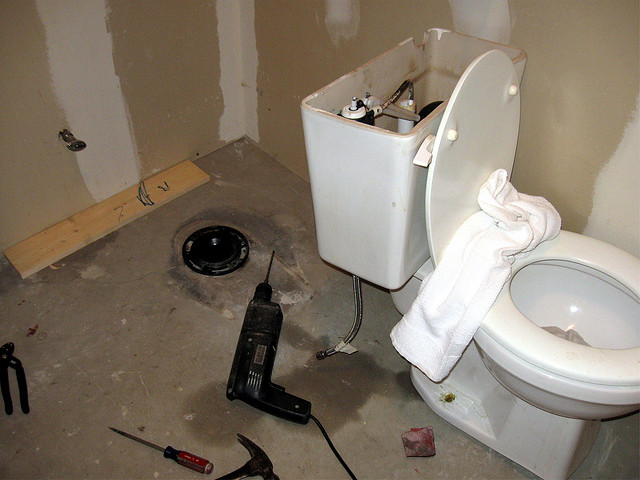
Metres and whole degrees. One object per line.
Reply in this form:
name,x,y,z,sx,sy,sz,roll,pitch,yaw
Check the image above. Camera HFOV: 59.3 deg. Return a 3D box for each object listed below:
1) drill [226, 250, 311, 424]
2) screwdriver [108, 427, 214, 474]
drill,-0.109,0.307,1.629,0.254,0.120,0.375,11,80,13
screwdriver,-0.434,0.566,1.520,0.314,0.042,0.030,14,47,15
